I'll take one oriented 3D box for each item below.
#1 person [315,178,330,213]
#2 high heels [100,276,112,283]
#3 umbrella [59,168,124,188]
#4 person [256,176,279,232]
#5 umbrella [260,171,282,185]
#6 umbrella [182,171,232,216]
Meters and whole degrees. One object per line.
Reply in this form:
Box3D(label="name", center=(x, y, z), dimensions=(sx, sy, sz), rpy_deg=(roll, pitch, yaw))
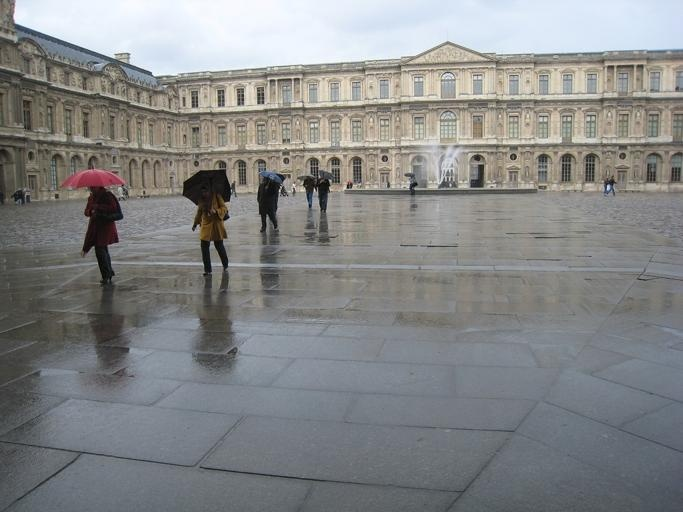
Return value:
Box3D(label="person", center=(-0.742, -2.497, 23.102), dimensions=(0.440, 1.386, 1.255), rpy_deg=(-1, 10, -4))
Box3D(label="high heels", center=(-3.362, 0.332, 8.097), dimensions=(0.186, 0.084, 0.074), rpy_deg=(5, 8, 21))
Box3D(label="umbrella", center=(-3.638, -1.145, 8.446), dimensions=(0.659, 0.245, 0.668), rpy_deg=(1, 8, 23))
Box3D(label="person", center=(-2.020, -1.499, 15.842), dimensions=(0.578, 1.472, 2.401), rpy_deg=(-2, 11, -7))
Box3D(label="umbrella", center=(-1.861, -2.122, 15.381), dimensions=(0.480, 0.420, 1.577), rpy_deg=(-1, 11, -3))
Box3D(label="umbrella", center=(-2.101, -1.087, 8.920), dimensions=(0.772, 0.552, 0.531), rpy_deg=(0, 10, 5))
